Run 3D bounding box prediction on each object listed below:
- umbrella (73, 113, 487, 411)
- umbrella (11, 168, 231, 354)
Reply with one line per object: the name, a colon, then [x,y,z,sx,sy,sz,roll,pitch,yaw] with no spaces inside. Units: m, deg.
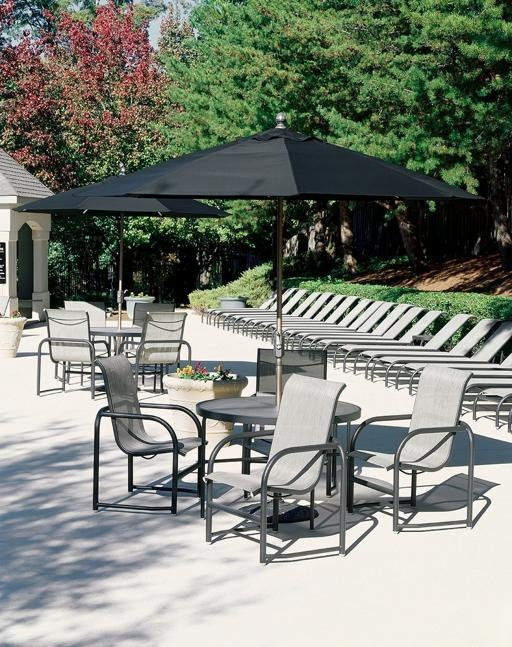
umbrella: [0.129,-0.544,5.615,2.321,1.641,2.363,0,6,-7]
umbrella: [-2.059,-0.925,10.925,2.342,2.064,2.431,4,5,14]
